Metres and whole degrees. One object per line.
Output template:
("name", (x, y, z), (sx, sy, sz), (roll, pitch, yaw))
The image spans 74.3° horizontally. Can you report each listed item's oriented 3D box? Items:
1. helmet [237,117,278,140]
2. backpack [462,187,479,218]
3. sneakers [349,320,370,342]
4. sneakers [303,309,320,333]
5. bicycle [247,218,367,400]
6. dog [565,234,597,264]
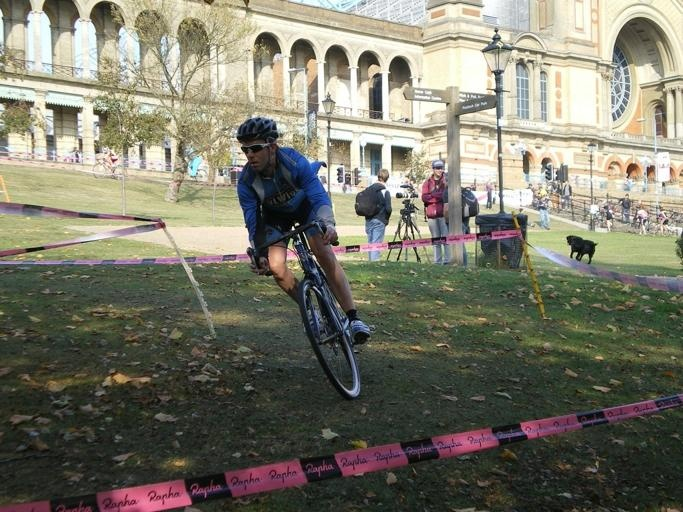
("helmet", (-0.705, -1.054, 3.851), (0.230, 0.107, 0.294), (5, 10, 18))
("backpack", (3.421, -1.422, 12.290), (0.481, 0.784, 0.645), (8, 10, 13))
("sneakers", (0.150, 0.644, 3.988), (0.103, 0.111, 0.261), (-1, 13, -4))
("sneakers", (-0.245, 0.551, 3.871), (0.077, 0.197, 0.193), (-21, 49, -20))
("bicycle", (-0.169, 0.430, 4.065), (0.812, 1.476, 1.166), (2, 10, -20))
("dog", (7.774, -0.226, 14.926), (0.809, 0.811, 0.719), (9, 11, 24))
